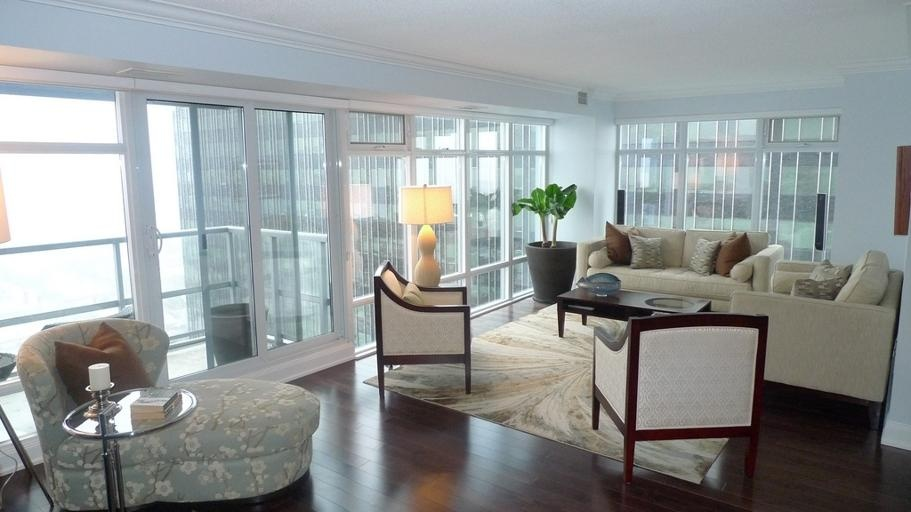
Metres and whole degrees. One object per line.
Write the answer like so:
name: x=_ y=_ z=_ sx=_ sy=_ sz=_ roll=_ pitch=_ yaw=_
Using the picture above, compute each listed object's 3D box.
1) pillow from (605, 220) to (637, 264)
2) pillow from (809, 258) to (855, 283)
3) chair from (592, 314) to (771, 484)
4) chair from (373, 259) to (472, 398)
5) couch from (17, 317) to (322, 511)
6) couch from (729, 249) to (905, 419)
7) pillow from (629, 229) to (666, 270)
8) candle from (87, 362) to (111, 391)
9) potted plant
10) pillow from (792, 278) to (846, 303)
pillow: x=2.421 y=-0.172 z=8.658 sx=0.662 sy=0.519 sz=0.180 roll=-1 pitch=-9 yaw=-25
pillow: x=3.971 y=0.186 z=6.082 sx=0.370 sy=0.097 sz=0.363 roll=-29 pitch=18 yaw=-30
chair: x=2.018 y=1.206 z=5.180 sx=1.308 sy=1.495 sz=0.546 roll=-1 pitch=9 yaw=-3
chair: x=-0.373 y=0.824 z=6.948 sx=1.574 sy=1.515 sz=1.805 roll=-2 pitch=7 yaw=-3
couch: x=-2.355 y=1.352 z=5.378 sx=2.492 sy=1.198 sz=1.602 roll=0 pitch=7 yaw=2
couch: x=3.854 y=0.659 z=6.321 sx=1.568 sy=1.315 sz=2.176 roll=6 pitch=10 yaw=36
pillow: x=2.868 y=-0.073 z=8.535 sx=0.731 sy=0.619 sz=0.265 roll=0 pitch=-15 yaw=-3
candle: x=-2.759 y=0.933 z=4.436 sx=0.136 sy=0.211 sz=0.183 roll=-5 pitch=9 yaw=-28
potted plant: x=1.449 y=-0.216 z=9.155 sx=0.940 sy=1.841 sz=1.159 roll=1 pitch=9 yaw=8
pillow: x=3.748 y=0.345 z=5.919 sx=0.341 sy=0.090 sz=0.286 roll=6 pitch=47 yaw=31
